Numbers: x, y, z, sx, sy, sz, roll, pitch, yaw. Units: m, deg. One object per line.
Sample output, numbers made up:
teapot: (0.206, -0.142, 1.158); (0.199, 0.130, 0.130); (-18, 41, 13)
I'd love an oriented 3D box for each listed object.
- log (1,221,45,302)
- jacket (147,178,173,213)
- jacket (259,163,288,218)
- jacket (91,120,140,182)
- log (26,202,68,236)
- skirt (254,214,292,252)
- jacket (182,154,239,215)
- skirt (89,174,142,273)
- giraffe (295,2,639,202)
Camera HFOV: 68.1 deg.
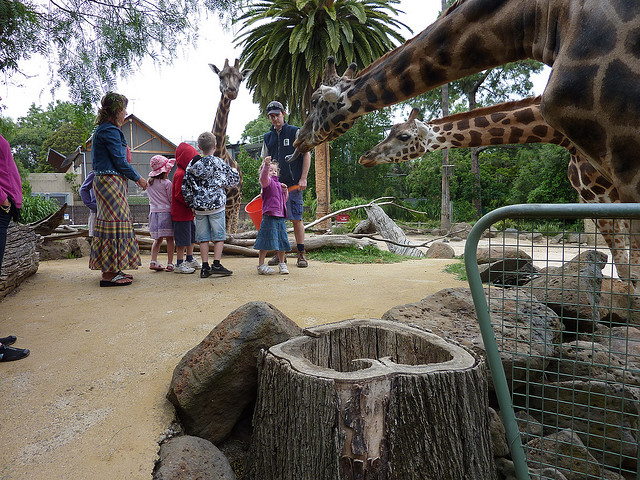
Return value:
log: (-3.690, 0.283, 5.893); (0.211, 0.734, 0.696); (18, 27, 18)
jacket: (-2.283, -0.655, 6.863); (0.445, 0.411, 0.305); (-3, 2, 0)
jacket: (-0.656, -0.703, 6.558); (0.285, 0.461, 0.460); (-3, 2, -4)
jacket: (-2.524, -1.086, 5.896); (0.520, 0.778, 0.686); (1, -4, -36)
log: (-4.778, -0.312, 8.477); (0.884, 0.380, 0.333); (-26, -19, 25)
skirt: (-0.665, -0.026, 6.870); (0.536, 0.584, 0.447); (5, -8, -38)
jacket: (-1.586, -0.892, 6.846); (0.648, 0.883, 0.863); (20, 32, 40)
skirt: (-2.508, -0.197, 5.785); (0.558, 1.053, 0.346); (-4, 2, -23)
giraffe: (0.974, -0.893, 3.204); (1.994, 1.417, 0.488); (-2, 2, 39)
